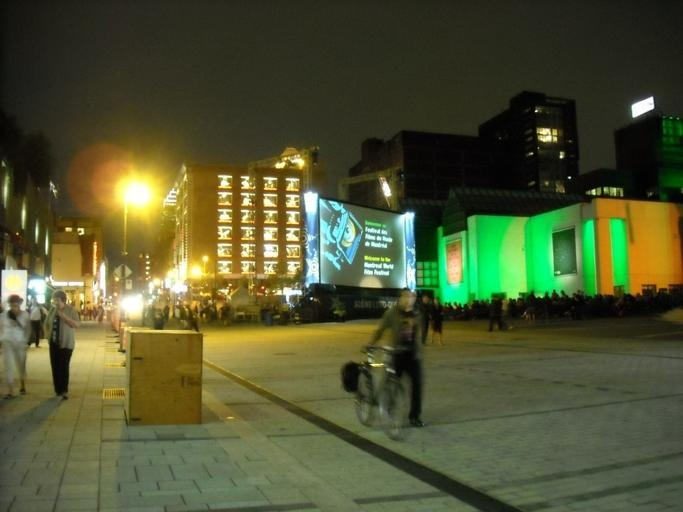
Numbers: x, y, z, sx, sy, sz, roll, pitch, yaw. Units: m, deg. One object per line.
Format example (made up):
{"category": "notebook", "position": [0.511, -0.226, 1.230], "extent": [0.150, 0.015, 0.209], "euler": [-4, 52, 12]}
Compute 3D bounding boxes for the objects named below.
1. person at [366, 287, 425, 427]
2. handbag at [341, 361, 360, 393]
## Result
{"category": "person", "position": [0.949, 1.643, 10.646], "extent": [0.678, 2.261, 0.813], "euler": [-4, -6, 26]}
{"category": "handbag", "position": [0.156, 1.984, 10.836], "extent": [0.323, 0.487, 0.464], "euler": [0, -1, 5]}
